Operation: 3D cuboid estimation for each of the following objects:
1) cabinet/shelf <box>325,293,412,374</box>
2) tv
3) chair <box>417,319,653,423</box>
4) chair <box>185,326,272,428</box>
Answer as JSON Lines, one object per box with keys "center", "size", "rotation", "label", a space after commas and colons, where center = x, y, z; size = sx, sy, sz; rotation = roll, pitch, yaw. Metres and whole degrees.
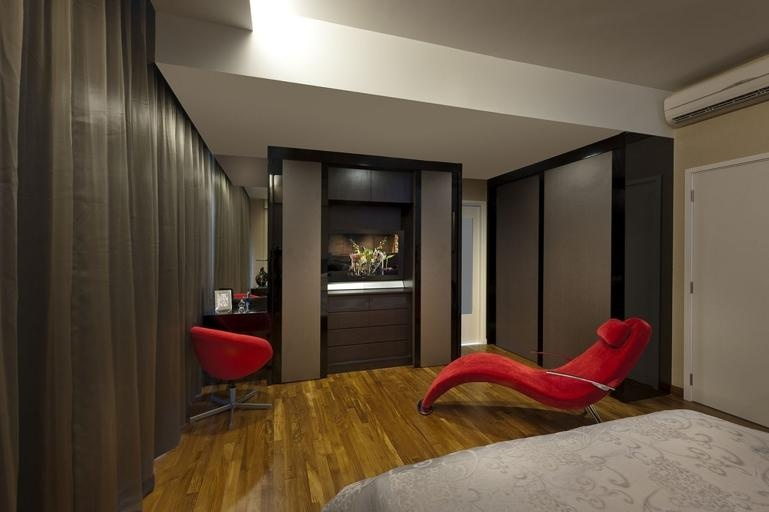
{"center": [-0.235, 0.904, 6.059], "size": [0.838, 0.748, 0.326], "rotation": [2, -4, -20], "label": "cabinet/shelf"}
{"center": [-0.248, 0.093, 6.648], "size": [0.940, 0.828, 0.366], "rotation": [1, -21, -9], "label": "tv"}
{"center": [1.385, 1.017, 5.066], "size": [1.654, 0.997, 1.004], "rotation": [3, -7, 12], "label": "chair"}
{"center": [-1.485, 1.084, 4.957], "size": [0.792, 0.828, 0.786], "rotation": [-4, 3, -42], "label": "chair"}
